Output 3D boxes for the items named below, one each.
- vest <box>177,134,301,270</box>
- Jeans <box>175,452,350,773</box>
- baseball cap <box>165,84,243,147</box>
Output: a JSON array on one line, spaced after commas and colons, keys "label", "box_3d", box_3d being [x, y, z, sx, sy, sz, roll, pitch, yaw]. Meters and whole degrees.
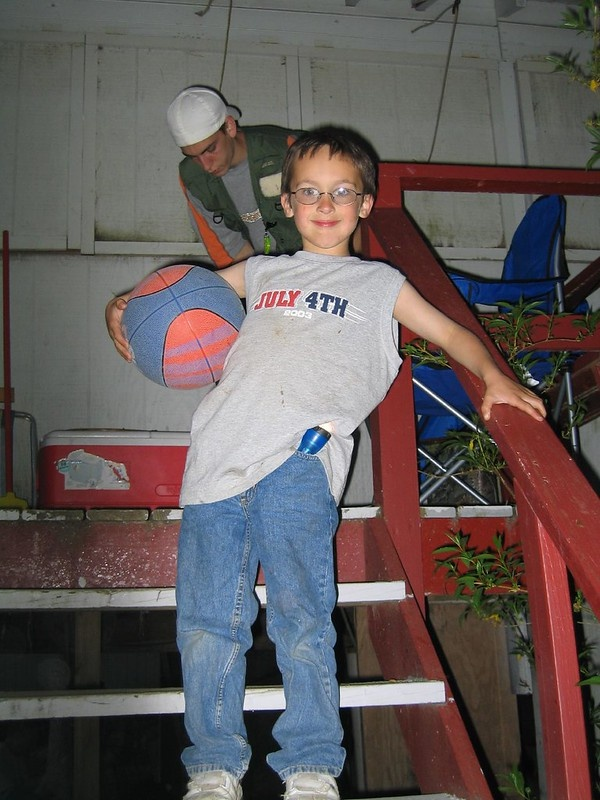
[{"label": "vest", "box_3d": [-0.232, -0.838, 2.923, 0.444, 0.262, 0.510, -19, -34, 0]}, {"label": "Jeans", "box_3d": [-0.081, 0.370, 1.330, 0.308, 0.516, 0.326, 1, 5, -3]}, {"label": "baseball cap", "box_3d": [-0.352, -1.022, 2.711, 0.215, 0.148, 0.284, 2, 43, 19]}]
